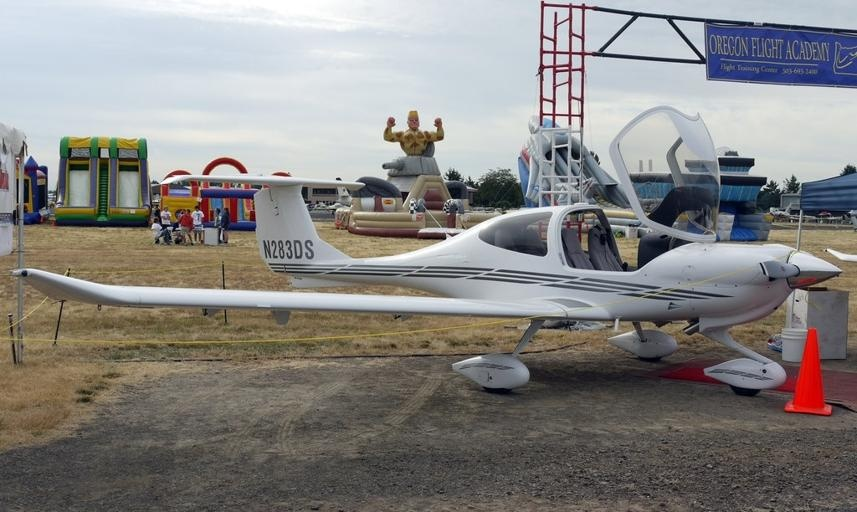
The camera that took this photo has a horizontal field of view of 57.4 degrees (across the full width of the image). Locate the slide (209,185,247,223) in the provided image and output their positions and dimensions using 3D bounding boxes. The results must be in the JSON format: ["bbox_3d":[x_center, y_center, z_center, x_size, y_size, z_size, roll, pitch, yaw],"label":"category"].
[{"bbox_3d":[-9.321,-2.489,37.217,2.755,1.985,1.685,1,10,-13],"label":"slide"}]
